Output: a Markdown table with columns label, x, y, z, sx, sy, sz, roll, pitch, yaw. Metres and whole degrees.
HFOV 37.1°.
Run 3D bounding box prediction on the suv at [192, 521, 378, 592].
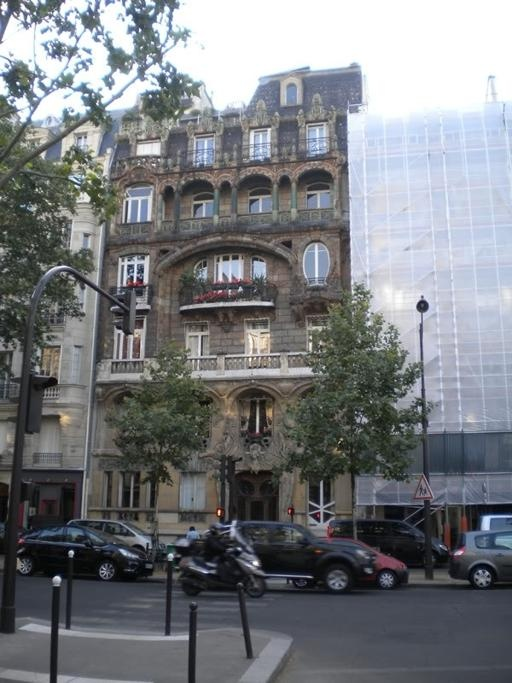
| label | x | y | z | sx | sy | sz | roll | pitch | yaw |
| --- | --- | --- | --- | --- | --- | --- | --- | --- | --- |
| suv | 0.965 | 5.028 | 17.903 | 3.557 | 1.377 | 1.492 | -2 | -14 | 7 |

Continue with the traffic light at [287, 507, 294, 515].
| label | x | y | z | sx | sy | sz | roll | pitch | yaw |
| --- | --- | --- | --- | --- | --- | --- | --- | --- | --- |
| traffic light | 1.436 | 7.100 | 31.951 | 0.281 | 0.346 | 0.263 | 3 | -6 | -17 |

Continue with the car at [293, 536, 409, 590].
| label | x | y | z | sx | sy | sz | roll | pitch | yaw |
| --- | --- | --- | --- | --- | --- | --- | --- | --- | --- |
| car | 2.368 | 5.331 | 18.000 | 2.563 | 1.061 | 1.403 | -4 | -11 | 1 |

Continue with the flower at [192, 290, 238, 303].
| label | x | y | z | sx | sy | sz | roll | pitch | yaw |
| --- | --- | --- | --- | --- | --- | --- | --- | --- | --- |
| flower | -1.845 | -2.078 | 35.671 | 1.303 | 0.417 | 0.837 | -3 | 3 | 1 |

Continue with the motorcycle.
| label | x | y | z | sx | sy | sz | roll | pitch | yaw |
| --- | --- | --- | --- | --- | --- | --- | --- | --- | --- |
| motorcycle | -0.693 | 4.846 | 16.343 | 2.138 | 1.108 | 0.951 | -7 | -13 | 28 |

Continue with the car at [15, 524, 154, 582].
| label | x | y | z | sx | sy | sz | roll | pitch | yaw |
| --- | --- | --- | --- | --- | --- | --- | --- | --- | --- |
| car | -4.629 | 5.548 | 20.142 | 3.292 | 1.340 | 1.069 | -5 | -14 | 24 |

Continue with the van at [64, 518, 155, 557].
| label | x | y | z | sx | sy | sz | roll | pitch | yaw |
| --- | --- | --- | --- | --- | --- | --- | --- | --- | --- |
| van | -4.494 | 6.207 | 23.873 | 2.731 | 1.023 | 1.393 | -2 | -12 | 7 |
